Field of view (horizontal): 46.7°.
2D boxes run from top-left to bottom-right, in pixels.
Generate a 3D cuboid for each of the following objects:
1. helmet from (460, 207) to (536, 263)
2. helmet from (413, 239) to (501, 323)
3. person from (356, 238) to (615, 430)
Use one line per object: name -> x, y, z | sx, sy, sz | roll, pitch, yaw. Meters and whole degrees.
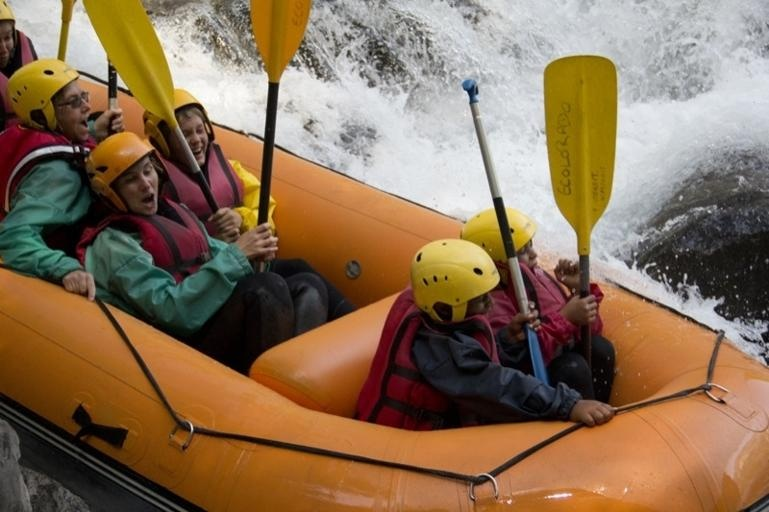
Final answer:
helmet -> 0.383, -0.087, 3.051 | 0.219, 0.156, 0.167 | 19, 18, -1
helmet -> 0.227, 0.060, 2.787 | 0.253, 0.242, 0.212 | 1, 15, 6
person -> 0.330, 0.237, 2.943 | 0.729, 0.694, 0.508 | -2, 29, 5
